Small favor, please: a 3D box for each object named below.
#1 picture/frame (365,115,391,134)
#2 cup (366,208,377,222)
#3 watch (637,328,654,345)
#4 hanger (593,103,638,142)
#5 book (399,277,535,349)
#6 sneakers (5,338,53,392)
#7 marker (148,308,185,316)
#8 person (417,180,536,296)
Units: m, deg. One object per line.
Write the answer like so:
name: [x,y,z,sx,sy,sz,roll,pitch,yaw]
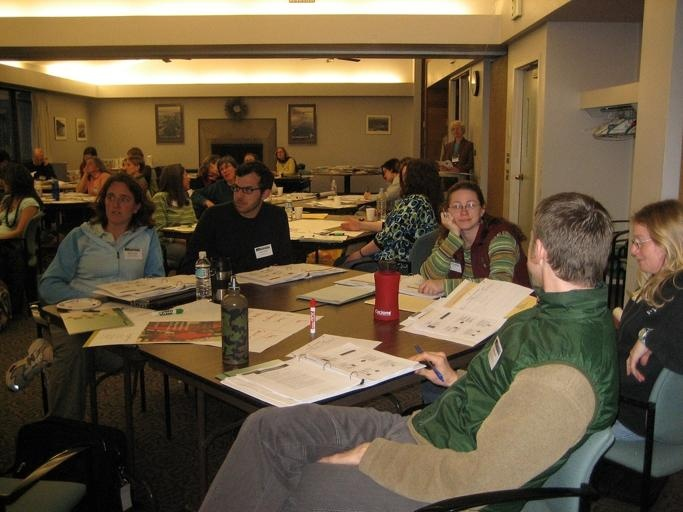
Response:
picture/frame: [1.005,-3.498,13.619,0.522,0.362,0.018,0,6,2]
cup: [0.293,-0.441,5.405,0.104,0.141,0.158,-1,5,16]
watch: [1.211,0.320,2.080,0.065,0.067,0.047,7,15,26]
hanger: [2.767,-1.327,5.109,0.350,0.188,0.498,10,23,37]
book: [0.523,0.249,2.194,0.274,0.070,0.413,11,29,43]
sneakers: [-1.329,0.467,2.221,0.175,0.191,0.220,-11,16,-40]
marker: [-0.752,0.240,2.275,0.167,0.038,0.039,-2,0,-23]
person: [0.725,0.032,2.951,0.571,0.837,0.835,-8,1,23]
